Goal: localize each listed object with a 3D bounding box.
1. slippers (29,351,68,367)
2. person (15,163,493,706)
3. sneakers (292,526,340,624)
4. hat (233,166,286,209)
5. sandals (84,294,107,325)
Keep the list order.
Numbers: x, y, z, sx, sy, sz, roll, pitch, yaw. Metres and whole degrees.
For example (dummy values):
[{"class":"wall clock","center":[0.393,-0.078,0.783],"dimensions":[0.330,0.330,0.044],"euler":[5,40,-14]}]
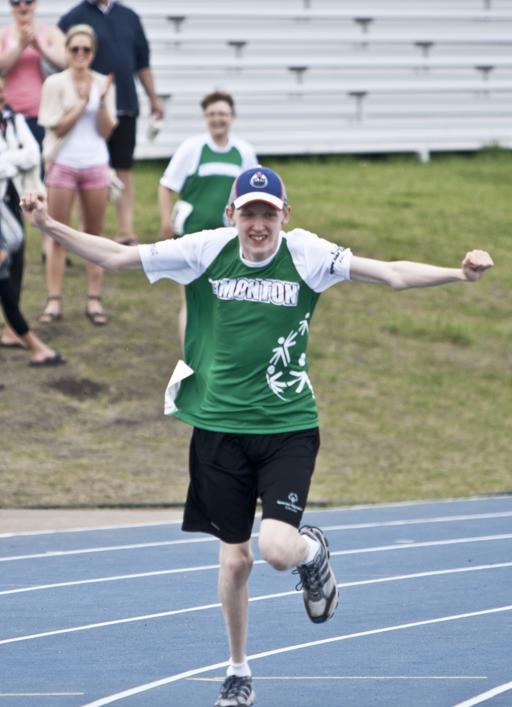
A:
[{"class":"slippers","center":[-1.466,0.037,10.114],"dimensions":[0.239,0.096,0.080],"euler":[-5,13,-19]},{"class":"person","center":[-0.027,0.341,5.934],"dimensions":[1.491,2.224,0.478],"euler":[5,-4,4]},{"class":"sneakers","center":[0.308,0.970,6.088],"dimensions":[0.152,0.443,0.220],"euler":[-3,15,20]},{"class":"hat","center":[0.017,-0.683,5.884],"dimensions":[0.229,0.218,0.219],"euler":[5,-3,-4]},{"class":"sandals","center":[-1.179,-0.313,10.557],"dimensions":[0.085,0.098,0.250],"euler":[-10,30,-14]}]
